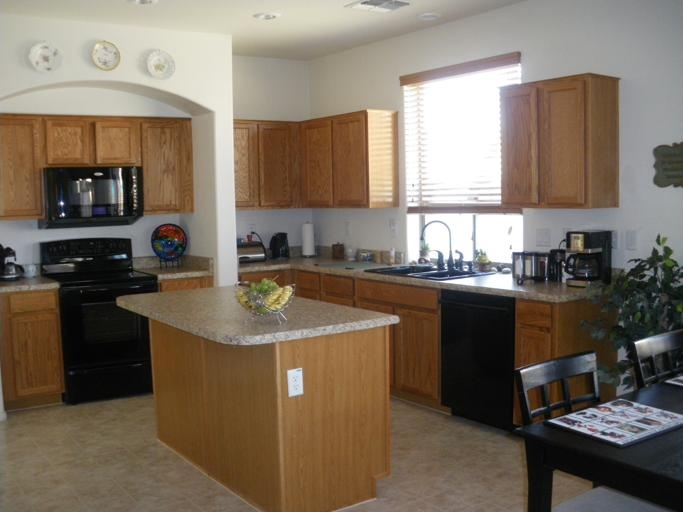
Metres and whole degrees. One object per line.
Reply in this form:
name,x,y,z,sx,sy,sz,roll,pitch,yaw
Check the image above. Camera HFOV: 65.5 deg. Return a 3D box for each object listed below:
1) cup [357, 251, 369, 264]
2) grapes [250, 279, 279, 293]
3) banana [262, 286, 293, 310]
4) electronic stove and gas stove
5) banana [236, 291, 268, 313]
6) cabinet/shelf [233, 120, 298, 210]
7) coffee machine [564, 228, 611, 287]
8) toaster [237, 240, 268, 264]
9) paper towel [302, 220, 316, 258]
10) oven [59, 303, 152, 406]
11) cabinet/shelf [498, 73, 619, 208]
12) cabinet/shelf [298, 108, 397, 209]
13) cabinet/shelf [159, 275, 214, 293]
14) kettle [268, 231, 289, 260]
cup,0.248,-0.003,6.073,0.110,0.136,0.191,-3,7,-30
grapes,-0.446,0.198,3.144,0.105,0.081,0.132,8,11,29
banana,-0.375,0.248,3.108,0.156,0.113,0.043,-32,0,-19
electronic stove and gas stove,-2.330,0.296,5.189,0.925,0.232,0.575,-5,7,-30
banana,-0.523,0.254,3.134,0.144,0.063,0.125,11,10,42
cabinet/shelf,-0.906,-1.054,6.036,1.083,0.990,0.410,-1,2,-30
coffee machine,1.772,-0.016,4.088,0.407,0.512,0.323,0,0,-24
toaster,-1.039,-0.042,6.037,0.243,0.121,0.241,-4,12,-28
paper towel,-0.418,-0.211,6.544,0.185,0.430,0.188,-1,-2,15
oven,-2.322,0.802,5.329,0.868,1.070,0.833,-5,10,-36
cabinet/shelf,1.645,-0.855,4.074,0.868,0.967,0.371,2,7,28
cabinet/shelf,0.088,-1.032,5.691,0.421,0.993,1.185,-1,2,-39
cabinet/shelf,-1.568,0.262,5.363,0.529,0.122,0.081,-6,7,-35
kettle,-0.743,-0.121,6.303,0.232,0.325,0.292,-3,5,-40
